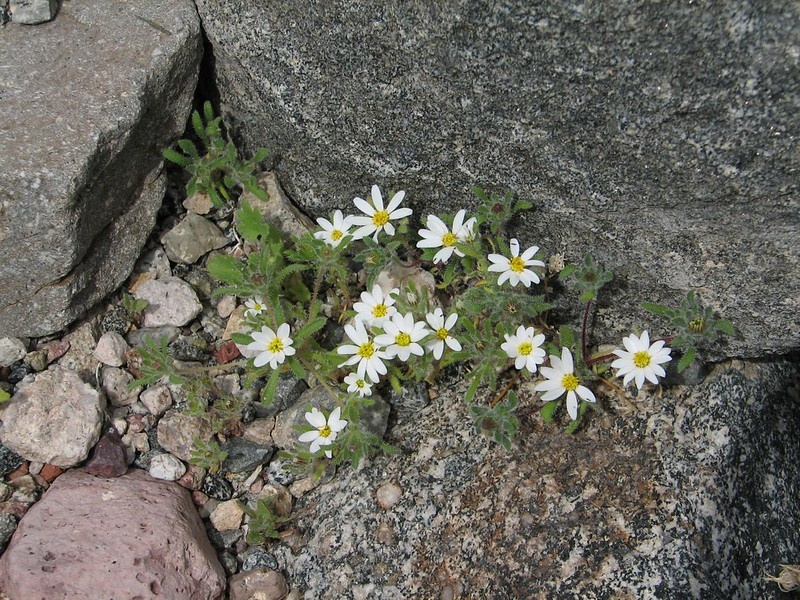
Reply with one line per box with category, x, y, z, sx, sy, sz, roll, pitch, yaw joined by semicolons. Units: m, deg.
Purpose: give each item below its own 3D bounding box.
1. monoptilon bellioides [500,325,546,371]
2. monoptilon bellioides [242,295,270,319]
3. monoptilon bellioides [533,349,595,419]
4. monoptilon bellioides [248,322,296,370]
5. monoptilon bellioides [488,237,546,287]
monoptilon bellioides;0.635;0.250;3.757;0.267;0.100;0.268;9;18;31
monoptilon bellioides;-0.815;0.067;4.178;0.114;0.054;0.153;-2;86;28
monoptilon bellioides;0.826;0.438;3.719;0.295;0.097;0.377;-18;83;29
monoptilon bellioides;-0.656;0.201;3.889;0.219;0.278;0.131;12;64;-32
monoptilon bellioides;0.600;-0.197;3.844;0.264;0.288;0.054;-16;56;35
